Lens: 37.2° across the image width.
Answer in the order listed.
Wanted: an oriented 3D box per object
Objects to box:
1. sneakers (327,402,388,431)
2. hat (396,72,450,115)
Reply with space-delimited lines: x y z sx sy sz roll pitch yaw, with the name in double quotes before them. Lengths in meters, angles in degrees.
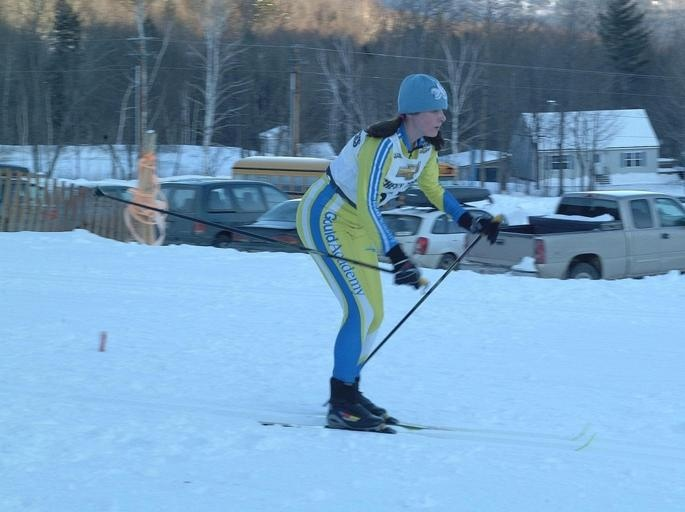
"sneakers" 0.238 1.642 10.203 0.757 0.219 0.230 1 -1 3
"hat" 0.848 -1.636 10.270 0.443 0.325 0.557 -14 16 -38
